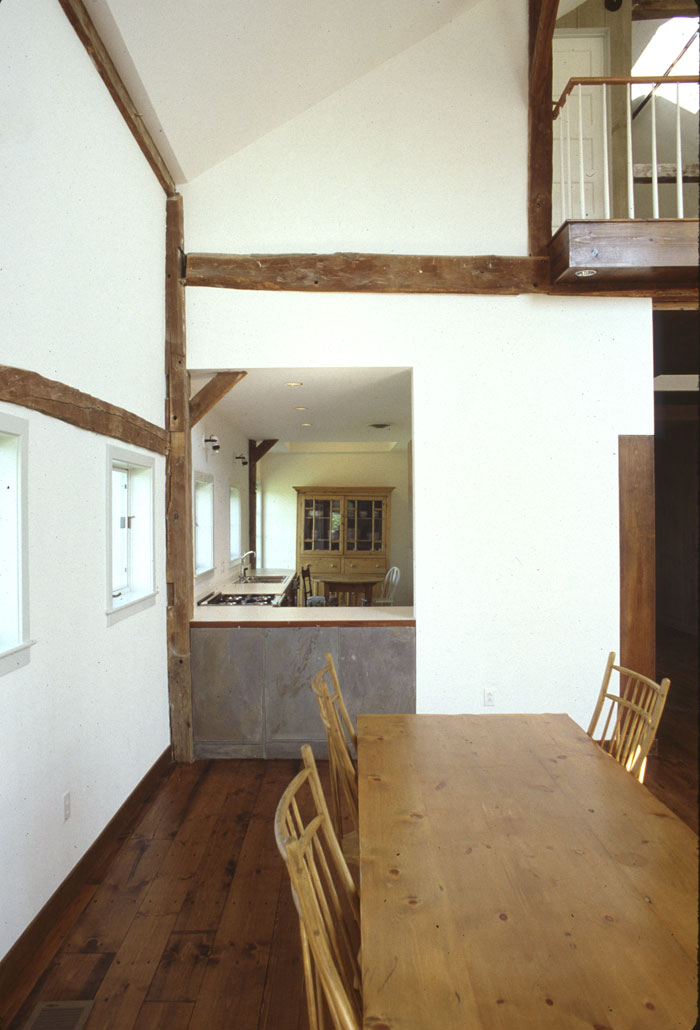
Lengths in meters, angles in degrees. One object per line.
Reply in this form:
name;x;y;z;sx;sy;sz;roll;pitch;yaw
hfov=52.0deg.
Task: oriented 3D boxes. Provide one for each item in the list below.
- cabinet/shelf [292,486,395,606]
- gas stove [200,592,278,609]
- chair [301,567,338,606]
cabinet/shelf;-0.091;0.386;9.065;1.122;2.346;0.622;0;-4;0
gas stove;-0.813;0.614;5.293;0.533;0.047;0.464;-2;2;-5
chair;-0.370;0.811;8.028;0.330;0.767;0.365;-1;1;2
